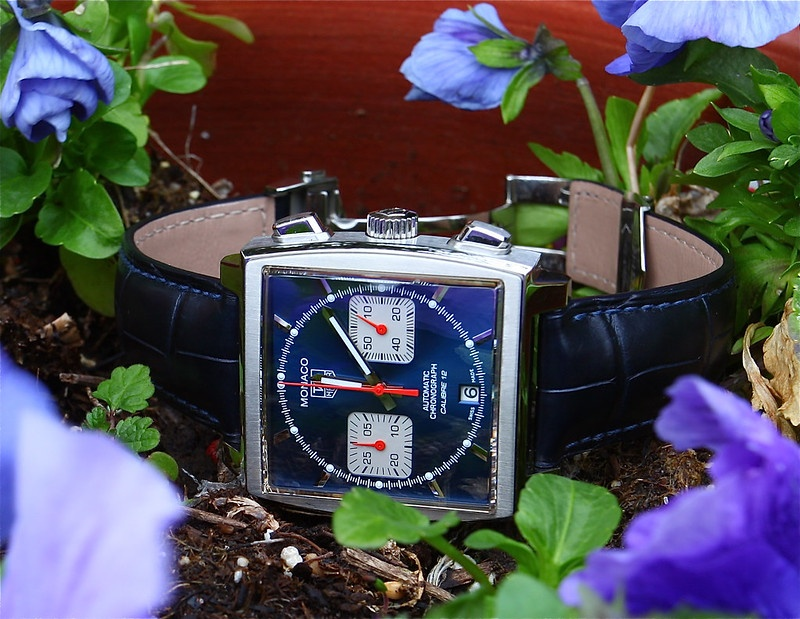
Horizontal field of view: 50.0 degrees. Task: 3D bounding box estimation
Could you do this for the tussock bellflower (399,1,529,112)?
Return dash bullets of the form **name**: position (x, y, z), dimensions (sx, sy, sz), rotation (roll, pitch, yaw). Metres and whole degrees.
- **tussock bellflower**: position (0.069, -0.312, 1.138), dimensions (0.154, 0.041, 0.153), rotation (26, 65, -18)
